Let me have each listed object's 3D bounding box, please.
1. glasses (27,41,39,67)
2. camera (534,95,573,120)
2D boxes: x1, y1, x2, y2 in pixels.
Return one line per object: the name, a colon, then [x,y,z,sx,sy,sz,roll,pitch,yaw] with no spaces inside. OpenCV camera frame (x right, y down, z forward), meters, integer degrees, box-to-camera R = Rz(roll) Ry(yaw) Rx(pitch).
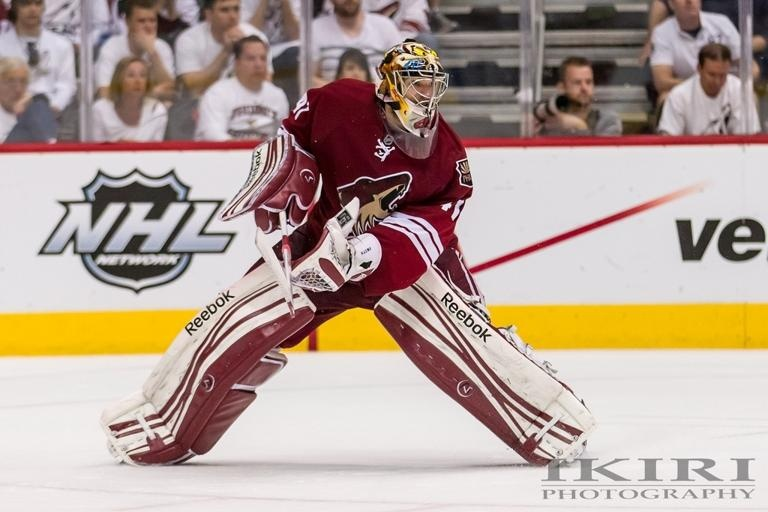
glasses: [-2.406,-1.388,9.269,0.114,0.148,0.041,-1,1,32]
camera: [1.165,-1.043,9.351,0.252,0.144,0.246,-21,2,16]
